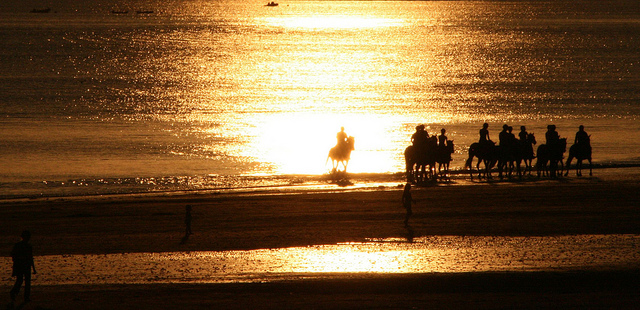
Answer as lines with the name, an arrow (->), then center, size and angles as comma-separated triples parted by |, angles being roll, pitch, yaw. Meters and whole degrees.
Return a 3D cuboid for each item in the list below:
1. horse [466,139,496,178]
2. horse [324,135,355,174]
horse -> 29.534, 0.567, 272.600 | 10.226, 7.066, 3.292 | 1, 0, 7
horse -> 3.948, -0.130, 275.920 | 2.603, 5.518, 8.397 | -4, 4, -34
